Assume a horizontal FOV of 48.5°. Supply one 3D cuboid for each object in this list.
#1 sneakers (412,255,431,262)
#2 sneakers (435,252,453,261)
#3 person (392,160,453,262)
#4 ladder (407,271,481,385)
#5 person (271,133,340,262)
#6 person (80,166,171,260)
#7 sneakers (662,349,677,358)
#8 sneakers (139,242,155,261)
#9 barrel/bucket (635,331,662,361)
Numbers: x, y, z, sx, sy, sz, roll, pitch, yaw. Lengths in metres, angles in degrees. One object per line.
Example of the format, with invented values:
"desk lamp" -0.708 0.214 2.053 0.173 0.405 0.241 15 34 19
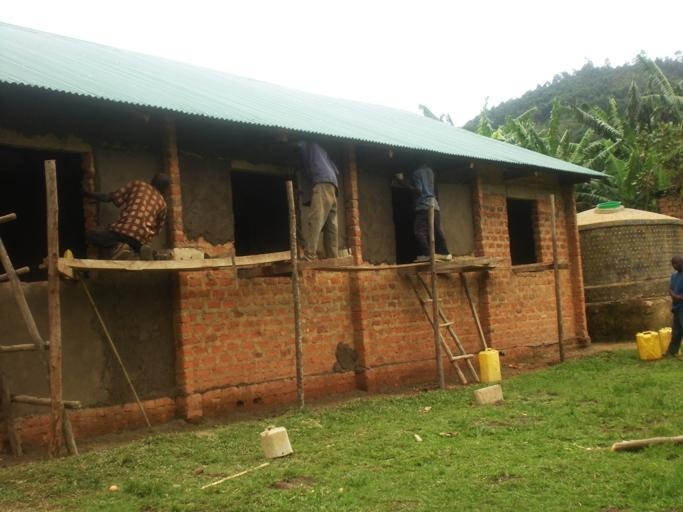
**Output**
"sneakers" 1.373 0.049 12.842 0.086 0.084 0.228 0 -3 -40
"sneakers" 1.722 0.030 12.791 0.273 0.112 0.483 0 10 7
"person" 1.382 -0.699 12.960 0.948 1.710 1.486 -1 10 3
"ladder" 1.996 1.223 13.249 1.382 1.967 1.206 -7 12 -32
"person" -0.480 -0.923 11.856 0.858 1.976 1.547 -1 10 -1
"person" -3.010 -0.595 10.576 0.575 0.735 1.011 19 50 31
"sneakers" 5.772 1.715 13.373 0.278 0.196 0.095 8 -18 1
"sneakers" -2.784 -0.061 10.811 0.232 0.299 0.159 3 -7 -40
"barrel/bucket" 5.397 1.587 13.464 0.422 0.486 0.481 -2 -7 3
